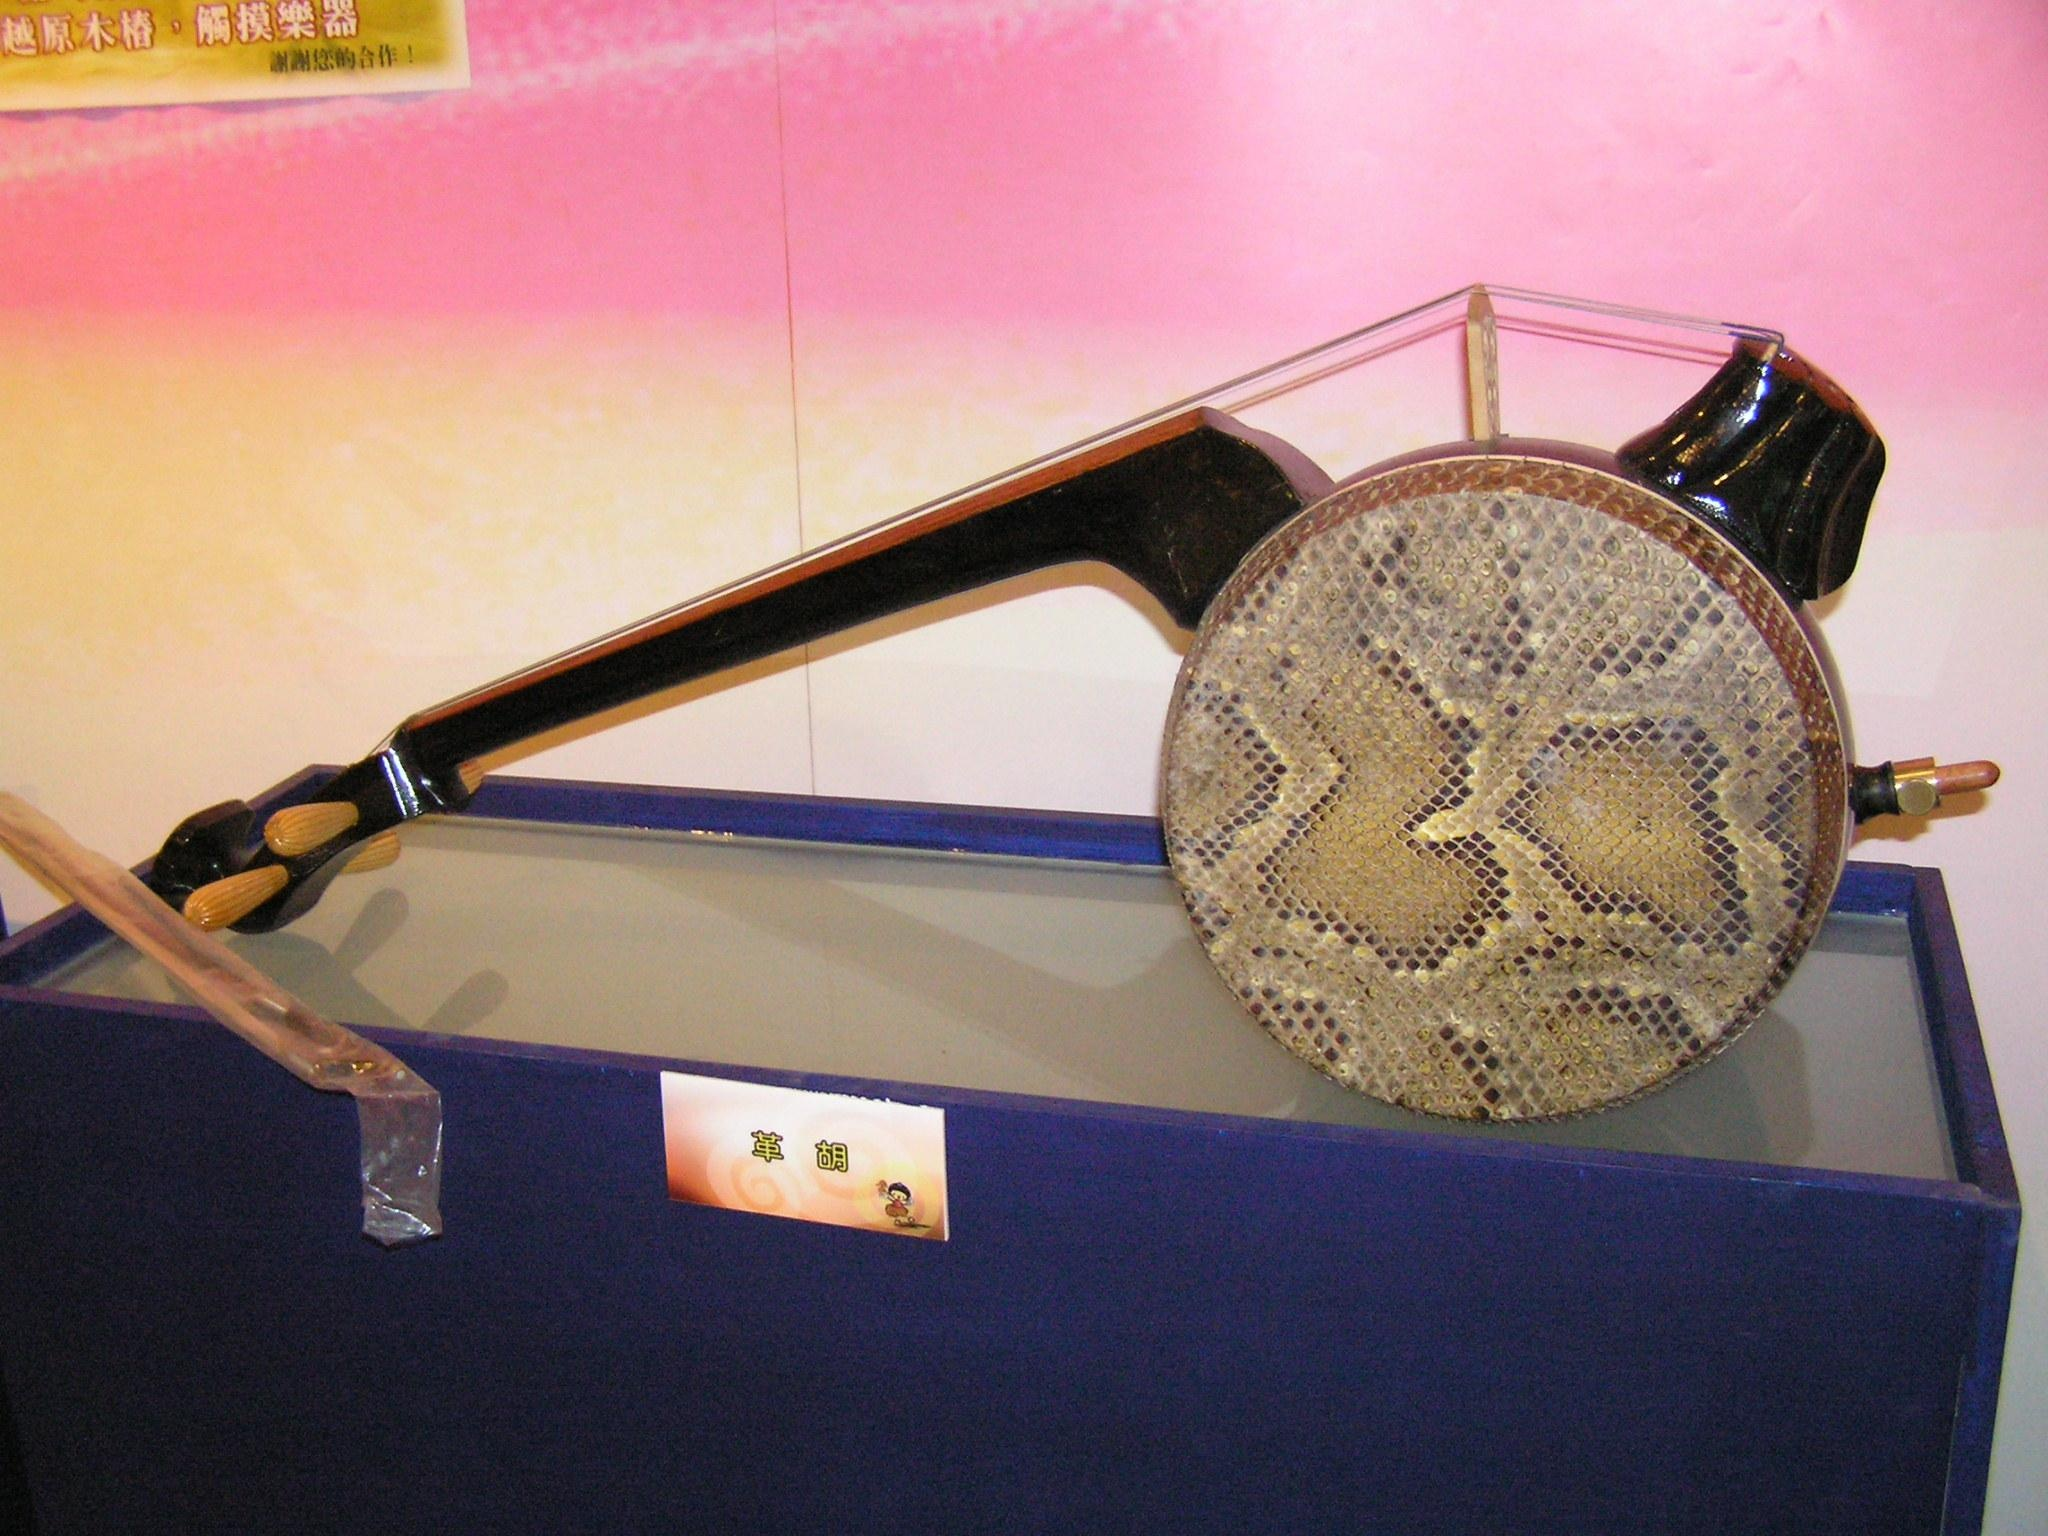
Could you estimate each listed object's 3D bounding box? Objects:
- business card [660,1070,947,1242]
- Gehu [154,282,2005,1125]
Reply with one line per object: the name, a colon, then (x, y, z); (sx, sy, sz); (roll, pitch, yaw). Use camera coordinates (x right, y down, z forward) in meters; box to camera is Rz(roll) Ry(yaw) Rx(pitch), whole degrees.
business card: (-0.101, 0.184, 0.873); (0.131, 0.077, 0.002); (8, 28, -2)
Gehu: (0.058, -0.034, 0.906); (0.754, 0.393, 0.181); (-2, -5, 22)
